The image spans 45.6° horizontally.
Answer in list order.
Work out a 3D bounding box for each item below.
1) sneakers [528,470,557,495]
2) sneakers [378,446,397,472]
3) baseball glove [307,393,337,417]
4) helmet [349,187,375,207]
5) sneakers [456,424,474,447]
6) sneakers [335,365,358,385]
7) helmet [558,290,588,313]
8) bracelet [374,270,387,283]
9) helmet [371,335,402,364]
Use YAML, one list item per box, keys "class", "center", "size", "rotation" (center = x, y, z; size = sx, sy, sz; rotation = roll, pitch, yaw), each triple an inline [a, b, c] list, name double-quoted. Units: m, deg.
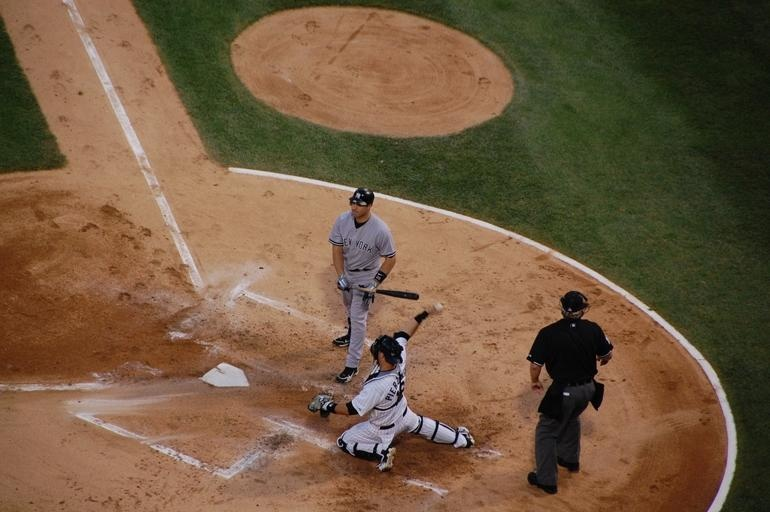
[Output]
- class: "sneakers"
  center: [2.908, 4.237, 17.254]
  size: [0.610, 0.263, 0.262]
  rotation: [32, 40, 20]
- class: "sneakers"
  center: [0.074, 3.808, 17.320]
  size: [0.252, 0.240, 0.501]
  rotation: [18, 106, 33]
- class: "baseball glove"
  center: [-1.214, 2.809, 17.367]
  size: [0.494, 0.203, 0.450]
  rotation: [-2, 42, 13]
- class: "helmet"
  center: [-0.442, -1.193, 18.066]
  size: [0.459, 0.197, 0.305]
  rotation: [7, 18, -14]
- class: "sneakers"
  center: [1.576, 3.443, 17.747]
  size: [0.205, 0.228, 0.479]
  rotation: [-33, 97, -20]
- class: "sneakers"
  center: [-0.809, 2.393, 18.715]
  size: [0.495, 0.229, 0.226]
  rotation: [-34, 60, -12]
- class: "helmet"
  center: [3.506, 0.758, 16.994]
  size: [0.375, 0.264, 0.482]
  rotation: [7, 34, 21]
- class: "bracelet"
  center: [-0.099, 0.387, 18.600]
  size: [0.214, 0.242, 0.205]
  rotation: [34, 94, -8]
- class: "helmet"
  center: [0.034, 1.738, 17.128]
  size: [0.585, 0.410, 0.536]
  rotation: [-7, 77, -2]
